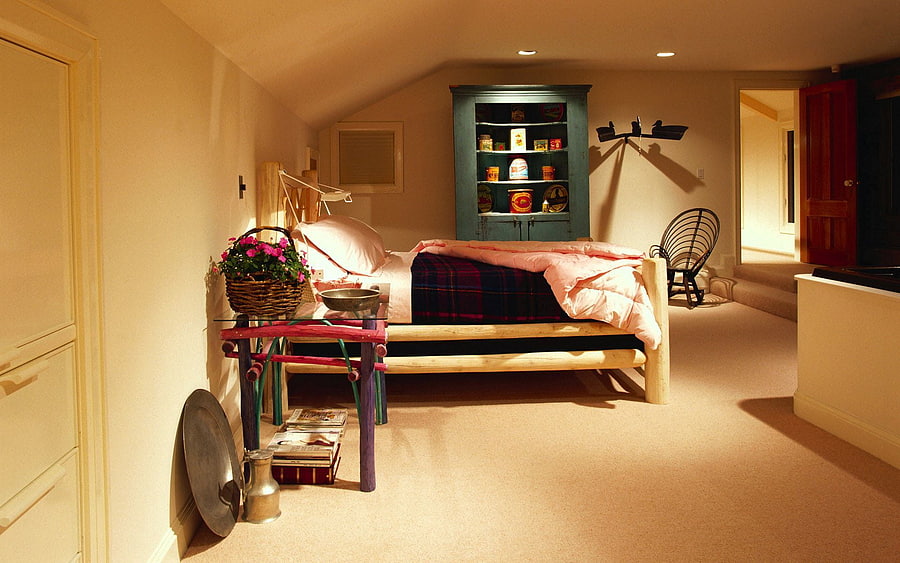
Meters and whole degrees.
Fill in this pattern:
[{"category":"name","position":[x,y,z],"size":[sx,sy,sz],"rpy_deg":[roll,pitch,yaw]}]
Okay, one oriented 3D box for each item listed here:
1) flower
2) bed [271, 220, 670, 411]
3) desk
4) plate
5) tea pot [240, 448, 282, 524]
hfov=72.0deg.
[{"category":"flower","position":[-0.911,-0.104,3.132],"size":[0.383,0.167,0.314],"rpy_deg":[14,7,-10]},{"category":"bed","position":[0.401,0.135,4.347],"size":[1.910,0.908,1.377],"rpy_deg":[-2,7,-4]},{"category":"desk","position":[-0.657,0.542,3.545],"size":[1.003,1.096,1.006],"rpy_deg":[0,8,6]},{"category":"plate","position":[-1.114,0.830,2.884],"size":[0.204,0.598,0.501],"rpy_deg":[-4,14,-12]},{"category":"tea pot","position":[-0.918,0.964,2.942],"size":[0.177,0.329,0.131],"rpy_deg":[-6,15,-18]}]
